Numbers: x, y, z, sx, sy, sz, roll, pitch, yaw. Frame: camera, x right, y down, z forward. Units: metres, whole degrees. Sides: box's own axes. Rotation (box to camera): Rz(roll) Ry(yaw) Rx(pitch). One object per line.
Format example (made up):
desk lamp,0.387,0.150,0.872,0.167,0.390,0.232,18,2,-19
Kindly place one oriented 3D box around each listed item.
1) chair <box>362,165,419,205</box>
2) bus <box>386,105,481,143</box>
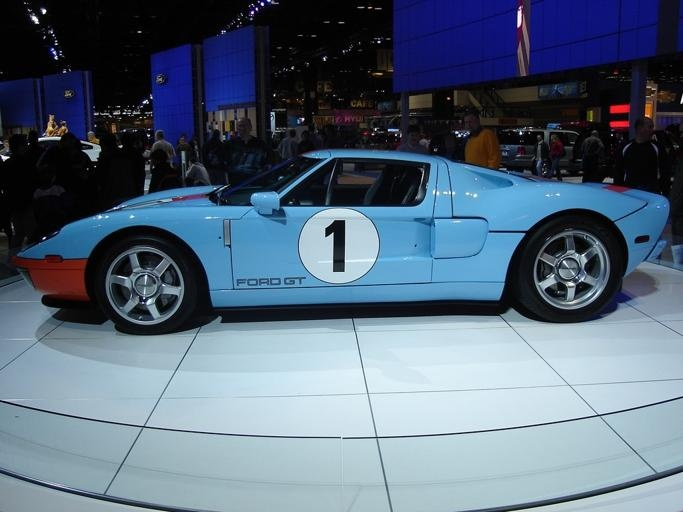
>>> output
chair,0.501,-0.706,4.197,0.482,0.391,0.182,2,-9,23
bus,8.494,-14.618,44.569,8.039,2.510,5.232,15,50,26
